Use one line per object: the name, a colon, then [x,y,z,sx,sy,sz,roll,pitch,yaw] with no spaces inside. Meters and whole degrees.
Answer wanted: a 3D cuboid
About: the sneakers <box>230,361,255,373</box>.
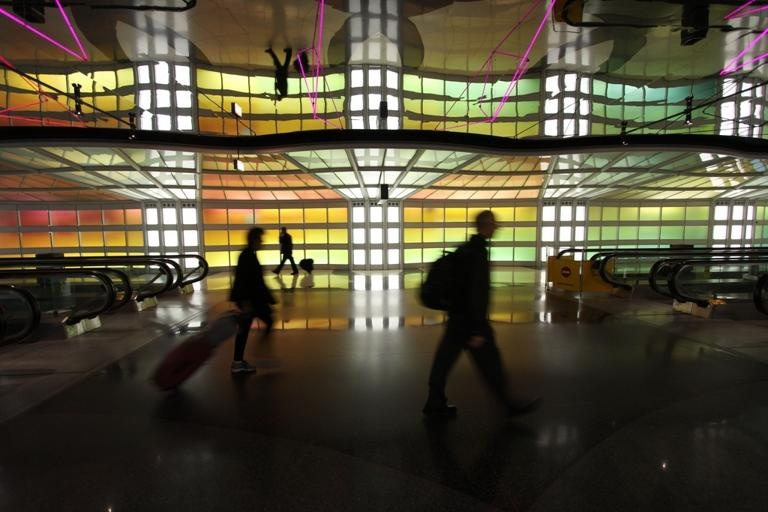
sneakers: [-4.016,3.094,14.953,0.697,0.216,0.300,0,0,-13]
